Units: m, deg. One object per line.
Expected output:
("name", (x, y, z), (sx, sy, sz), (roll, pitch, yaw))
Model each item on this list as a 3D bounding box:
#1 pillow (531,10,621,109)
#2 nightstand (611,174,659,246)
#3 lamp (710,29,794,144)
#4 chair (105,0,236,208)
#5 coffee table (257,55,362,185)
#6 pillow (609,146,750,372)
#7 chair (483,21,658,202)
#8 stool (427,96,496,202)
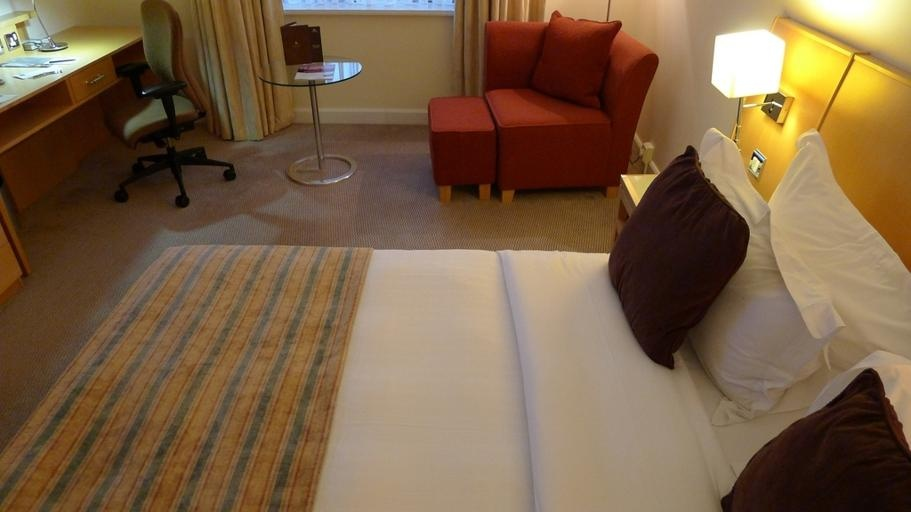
("pillow", (0.922, -1.561, 4.699), (0.357, 0.565, 0.679), (-35, 46, -25))
("nightstand", (1.259, -0.298, 4.089), (0.345, 0.341, 0.276), (9, 6, 26))
("lamp", (1.686, -0.909, 3.484), (0.277, 0.680, 0.250), (-8, 43, 10))
("chair", (-2.376, -1.275, 4.894), (0.971, 1.570, 0.970), (35, 45, 24))
("coffee table", (-1.106, -1.149, 5.176), (1.108, 1.033, 1.078), (-7, 38, -8))
("pillow", (1.091, 0.046, 2.837), (0.513, 0.834, 0.964), (-7, 35, -4))
("chair", (0.840, -1.218, 4.879), (1.472, 1.152, 1.372), (11, 38, 17))
("stool", (0.031, -0.796, 4.933), (0.554, 0.606, 0.877), (-2, 8, -8))
